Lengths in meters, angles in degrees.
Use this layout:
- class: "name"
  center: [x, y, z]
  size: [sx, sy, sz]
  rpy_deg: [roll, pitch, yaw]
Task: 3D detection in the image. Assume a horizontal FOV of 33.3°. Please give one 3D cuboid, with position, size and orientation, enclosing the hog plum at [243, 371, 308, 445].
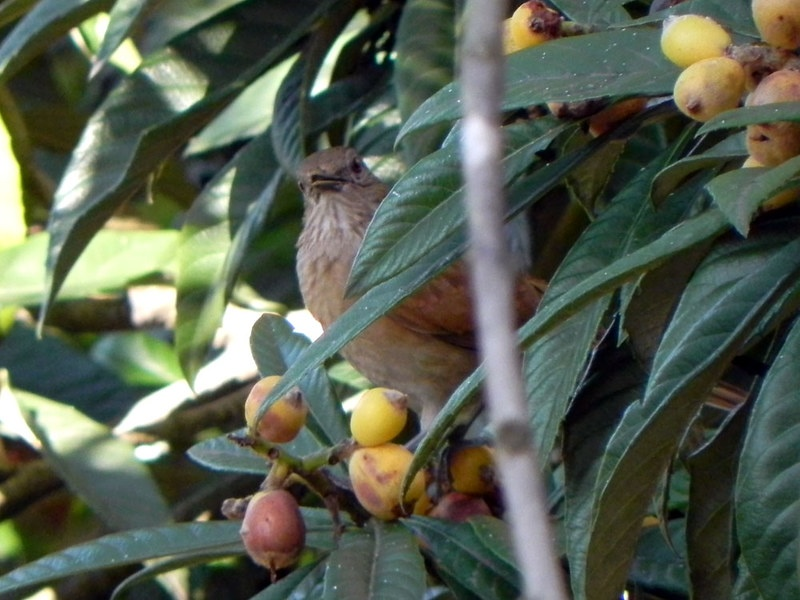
- class: "hog plum"
  center: [-0.268, 0.266, 3.181]
  size: [0.140, 0.179, 0.141]
  rpy_deg: [3, 10, -3]

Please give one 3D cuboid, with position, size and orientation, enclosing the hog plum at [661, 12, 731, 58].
- class: "hog plum"
  center: [0.582, -0.525, 2.701]
  size: [0.083, 0.077, 0.118]
  rpy_deg: [2, 1, 14]

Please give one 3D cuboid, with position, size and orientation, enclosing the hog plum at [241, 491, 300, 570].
- class: "hog plum"
  center: [-0.290, 0.533, 3.061]
  size: [0.140, 0.186, 0.131]
  rpy_deg: [-6, 1, -7]

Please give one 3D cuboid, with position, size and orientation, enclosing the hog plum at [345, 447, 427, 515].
- class: "hog plum"
  center: [-0.044, 0.437, 3.152]
  size: [0.148, 0.172, 0.100]
  rpy_deg: [-6, 1, 8]

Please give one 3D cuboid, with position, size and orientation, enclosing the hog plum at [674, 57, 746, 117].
- class: "hog plum"
  center: [0.606, -0.416, 2.683]
  size: [0.098, 0.107, 0.134]
  rpy_deg: [-5, 15, 46]

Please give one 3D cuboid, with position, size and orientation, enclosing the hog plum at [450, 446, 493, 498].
- class: "hog plum"
  center: [0.177, 0.433, 3.426]
  size: [0.104, 0.122, 0.116]
  rpy_deg: [-11, -1, 19]
